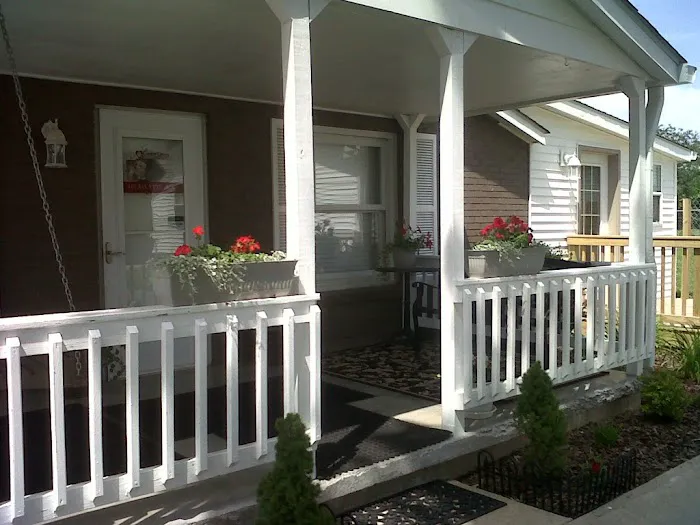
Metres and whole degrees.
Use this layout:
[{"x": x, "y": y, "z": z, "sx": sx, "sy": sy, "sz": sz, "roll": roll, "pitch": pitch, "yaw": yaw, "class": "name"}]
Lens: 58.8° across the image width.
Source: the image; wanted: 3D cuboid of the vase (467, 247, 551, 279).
[{"x": 1.329, "y": -0.014, "z": 5.291, "sx": 0.807, "sy": 0.263, "sz": 0.192, "roll": -5, "pitch": 7, "yaw": -28, "class": "vase"}]

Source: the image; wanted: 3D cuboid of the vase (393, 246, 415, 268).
[{"x": 0.660, "y": -0.074, "z": 7.600, "sx": 0.235, "sy": 0.191, "sz": 0.237, "roll": 1, "pitch": 1, "yaw": -34, "class": "vase"}]

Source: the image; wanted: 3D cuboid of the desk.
[{"x": 0.747, "y": 0.507, "z": 7.784, "sx": 0.787, "sy": 0.861, "sz": 0.836, "roll": 0, "pitch": -2, "yaw": 18, "class": "desk"}]

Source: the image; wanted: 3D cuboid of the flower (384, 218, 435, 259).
[{"x": 0.807, "y": -0.325, "z": 7.803, "sx": 0.461, "sy": 0.382, "sz": 0.534, "roll": -7, "pitch": 11, "yaw": -10, "class": "flower"}]

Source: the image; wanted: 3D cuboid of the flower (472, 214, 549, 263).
[{"x": 1.382, "y": -0.199, "z": 5.447, "sx": 0.484, "sy": 0.396, "sz": 0.566, "roll": -2, "pitch": 2, "yaw": 20, "class": "flower"}]

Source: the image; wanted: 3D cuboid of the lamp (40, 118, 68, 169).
[{"x": -2.666, "y": -1.082, "z": 5.584, "sx": 0.211, "sy": 0.435, "sz": 0.194, "roll": -5, "pitch": 6, "yaw": -27, "class": "lamp"}]

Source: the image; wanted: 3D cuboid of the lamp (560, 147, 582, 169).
[{"x": 3.652, "y": -1.798, "z": 10.269, "sx": 0.471, "sy": 0.346, "sz": 0.256, "roll": -2, "pitch": 3, "yaw": -37, "class": "lamp"}]
